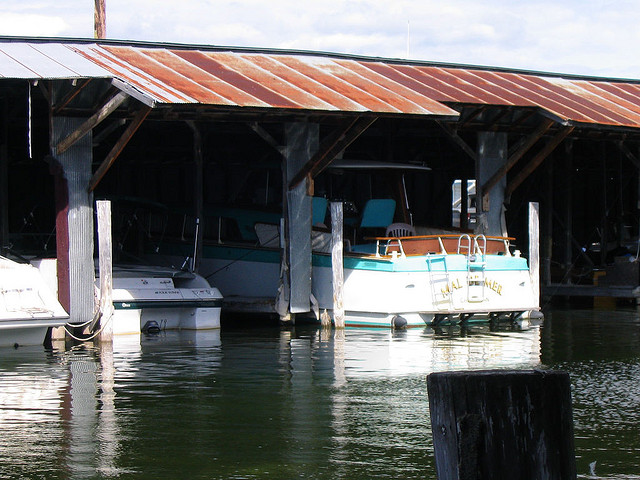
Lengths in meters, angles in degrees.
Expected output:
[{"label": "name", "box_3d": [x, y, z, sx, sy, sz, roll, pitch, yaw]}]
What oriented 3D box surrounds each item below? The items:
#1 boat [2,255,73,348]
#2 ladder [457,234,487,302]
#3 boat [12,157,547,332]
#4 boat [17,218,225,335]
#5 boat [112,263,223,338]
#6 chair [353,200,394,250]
[{"label": "boat", "box_3d": [-4.743, 1.055, 23.797, 1.106, 1.389, 1.043, -3, 11, -14]}, {"label": "ladder", "box_3d": [2.823, 0.457, 26.497, 0.540, 1.241, 1.092, 1, 11, 5]}, {"label": "boat", "box_3d": [-2.470, 0.012, 30.176, 14.006, 3.197, 4.033, 3, 4, 40]}, {"label": "boat", "box_3d": [-3.549, 0.856, 27.254, 2.238, 1.609, 3.795, -4, 1, -24]}, {"label": "boat", "box_3d": [-2.967, 1.103, 25.956, 2.166, 1.117, 1.097, -8, 13, -37]}, {"label": "chair", "box_3d": [1.051, -0.275, 28.170, 0.838, 1.024, 0.789, 2, 6, -12]}]
